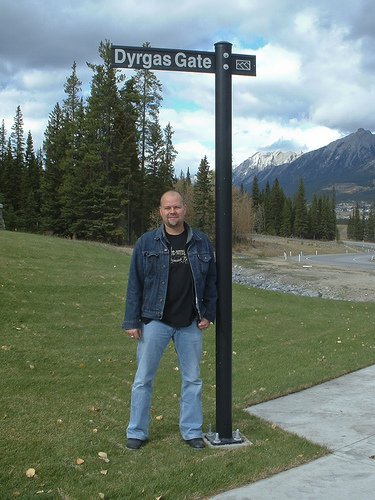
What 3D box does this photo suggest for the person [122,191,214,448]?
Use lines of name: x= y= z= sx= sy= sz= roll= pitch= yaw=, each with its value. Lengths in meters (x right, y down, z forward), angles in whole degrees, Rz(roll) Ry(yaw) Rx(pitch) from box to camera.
person: x=-0.174 y=0.629 z=4.536 sx=0.849 sy=2.333 sz=0.389 roll=2 pitch=2 yaw=-6

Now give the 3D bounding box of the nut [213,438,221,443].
nut: x=0.271 y=1.797 z=4.554 sx=0.067 sy=0.020 sz=0.058 roll=2 pitch=2 yaw=-19

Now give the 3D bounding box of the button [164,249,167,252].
button: x=-0.208 y=0.001 z=4.492 sx=0.023 sy=0.018 sz=0.024 roll=0 pitch=-12 yaw=7

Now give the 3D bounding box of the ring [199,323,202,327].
ring: x=0.114 y=0.708 z=4.560 sx=0.025 sy=0.031 sz=0.014 roll=-1 pitch=-7 yaw=10

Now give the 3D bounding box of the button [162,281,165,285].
button: x=-0.231 y=0.304 z=4.472 sx=0.030 sy=0.028 sz=0.016 roll=1 pitch=-4 yaw=-2

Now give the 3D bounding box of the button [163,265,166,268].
button: x=-0.220 y=0.156 z=4.485 sx=0.029 sy=0.027 sz=0.006 roll=-1 pitch=1 yaw=16

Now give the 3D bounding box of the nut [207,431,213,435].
nut: x=0.221 y=1.810 z=4.778 sx=0.037 sy=0.030 sz=0.035 roll=0 pitch=-5 yaw=-4

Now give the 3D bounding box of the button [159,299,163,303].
button: x=-0.251 y=0.466 z=4.456 sx=0.038 sy=0.035 sz=0.010 roll=-3 pitch=0 yaw=3
